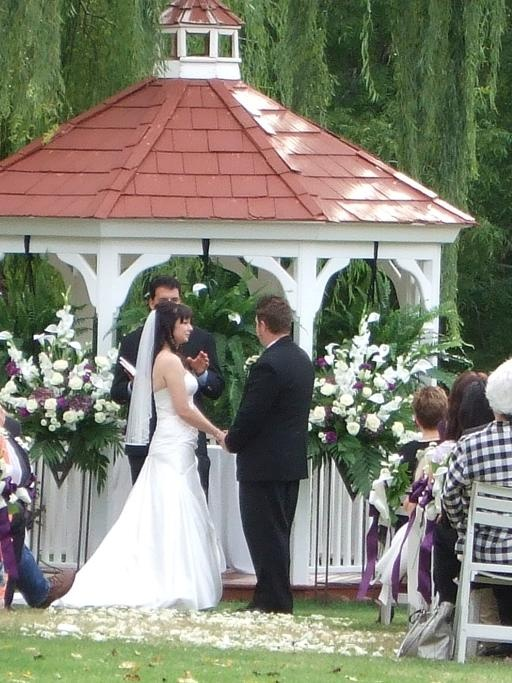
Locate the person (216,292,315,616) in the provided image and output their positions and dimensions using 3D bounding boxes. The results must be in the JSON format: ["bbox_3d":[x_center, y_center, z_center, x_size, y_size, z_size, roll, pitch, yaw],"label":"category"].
[{"bbox_3d":[0.058,0.639,10.427,0.498,1.823,0.439,-1,-1,1],"label":"person"}]

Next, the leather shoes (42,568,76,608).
[{"bbox_3d":[-1.132,1.381,10.498,0.079,0.130,0.288,10,47,24],"label":"leather shoes"}]

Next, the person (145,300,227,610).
[{"bbox_3d":[-0.475,0.644,10.598,0.528,1.774,0.487,0,-1,-5],"label":"person"}]

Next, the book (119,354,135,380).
[{"bbox_3d":[-0.773,0.141,10.872,0.114,0.030,0.114,50,0,35],"label":"book"}]
